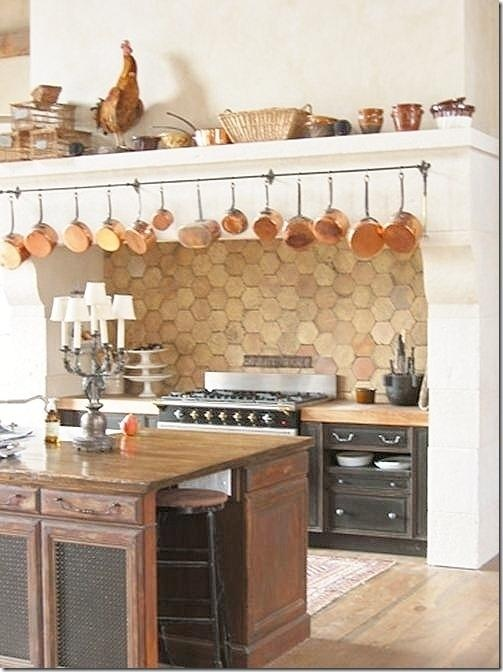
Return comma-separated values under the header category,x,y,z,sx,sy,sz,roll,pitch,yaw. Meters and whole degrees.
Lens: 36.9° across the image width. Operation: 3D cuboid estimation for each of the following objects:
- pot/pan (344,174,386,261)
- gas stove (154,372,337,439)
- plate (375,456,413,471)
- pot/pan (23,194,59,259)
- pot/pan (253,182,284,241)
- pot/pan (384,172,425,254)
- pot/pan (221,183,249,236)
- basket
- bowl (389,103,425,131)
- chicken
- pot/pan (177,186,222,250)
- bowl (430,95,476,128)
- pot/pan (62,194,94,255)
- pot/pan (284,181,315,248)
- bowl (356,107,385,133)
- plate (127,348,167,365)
category,x,y,z,sx,sy,sz,roll,pitch,yaw
pot/pan,0.561,-0.591,3.710,0.174,0.431,0.305,1,-2,7
gas stove,-0.016,0.481,4.750,1.016,0.443,0.673,-1,4,22
plate,0.801,0.722,4.308,0.193,0.069,0.239,1,-2,8
pot/pan,-1.203,-0.645,4.402,0.259,0.386,0.077,-2,6,17
pot/pan,0.083,-0.662,3.969,0.150,0.316,0.258,2,-2,0
pot/pan,0.736,-0.600,3.636,0.172,0.417,0.295,1,-2,16
pot/pan,-0.089,-0.692,4.119,0.143,0.295,0.280,2,-2,0
basket,0.065,-1.106,3.997,0.498,0.209,0.188,1,-2,18
bowl,0.755,-1.056,3.662,0.165,0.104,0.150,-3,11,1
chicken,-0.783,-1.405,4.512,0.276,0.584,0.334,2,-2,-21
pot/pan,-0.285,-0.636,4.123,0.226,0.355,0.154,9,12,33
bowl,0.958,-1.048,3.631,0.193,0.107,0.181,-1,-2,0
pot/pan,-0.990,-0.624,4.367,0.218,0.398,0.093,-2,14,9
pot/pan,0.243,-0.629,3.863,0.152,0.384,0.318,2,-2,3
bowl,0.585,-1.061,3.734,0.136,0.124,0.132,1,10,0
plate,-0.737,0.145,5.375,0.194,0.065,0.181,-1,3,-21
